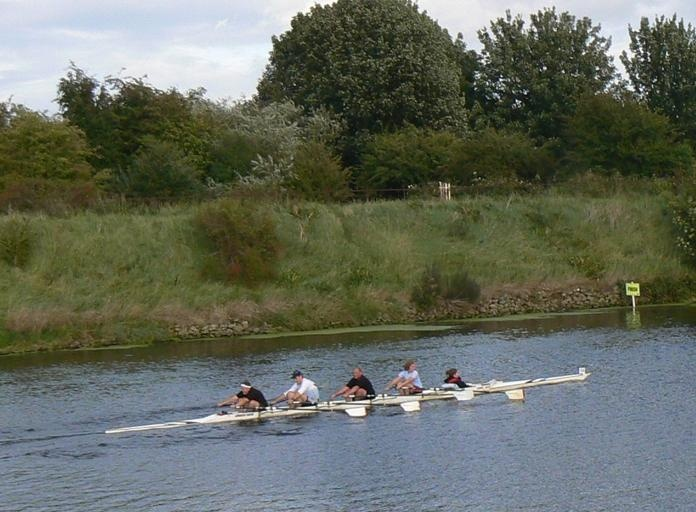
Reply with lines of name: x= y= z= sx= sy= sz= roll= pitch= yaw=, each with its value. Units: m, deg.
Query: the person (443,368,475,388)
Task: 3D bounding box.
person: x=4.566 y=5.006 z=45.533 sx=0.681 sy=0.504 sz=0.960 roll=13 pitch=11 yaw=44

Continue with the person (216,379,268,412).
person: x=-4.035 y=5.511 z=43.926 sx=1.721 sy=1.150 sz=0.733 roll=-7 pitch=7 yaw=7

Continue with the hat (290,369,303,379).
hat: x=-2.018 y=4.733 z=44.298 sx=0.419 sy=0.530 sz=0.528 roll=0 pitch=4 yaw=-9

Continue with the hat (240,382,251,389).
hat: x=-3.980 y=5.099 z=43.893 sx=0.355 sy=0.295 sz=0.256 roll=-8 pitch=6 yaw=-1
